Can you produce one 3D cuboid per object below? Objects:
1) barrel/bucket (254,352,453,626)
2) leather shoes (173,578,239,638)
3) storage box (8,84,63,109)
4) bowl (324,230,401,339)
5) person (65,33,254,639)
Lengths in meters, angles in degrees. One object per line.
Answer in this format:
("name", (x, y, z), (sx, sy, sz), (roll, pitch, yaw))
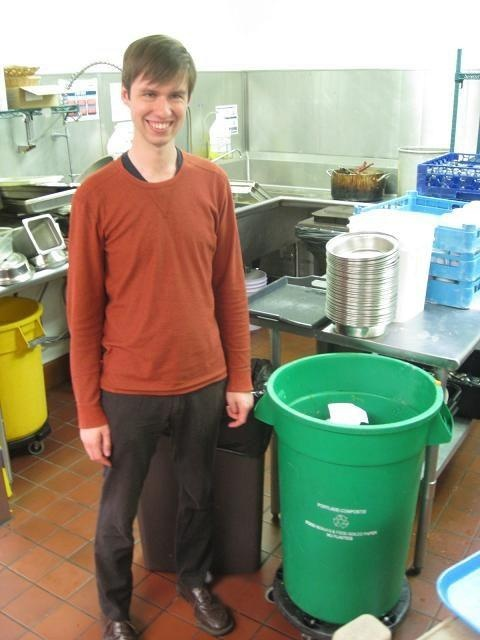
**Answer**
("barrel/bucket", (0.297, 0.486, 1.434), (0.425, 0.732, 0.401), (-2, 22, 1))
("leather shoes", (-0.105, 0.856, 1.587), (0.095, 0.085, 0.203), (-8, 14, -41))
("storage box", (-0.994, -1.084, 2.549), (0.129, 0.108, 0.291), (3, 22, 14))
("bowl", (0.383, -0.101, 1.655), (0.226, 0.308, 0.244), (-2, 22, 1))
("person", (-0.182, 0.171, 1.290), (0.509, 1.561, 0.220), (-11, 24, -19))
